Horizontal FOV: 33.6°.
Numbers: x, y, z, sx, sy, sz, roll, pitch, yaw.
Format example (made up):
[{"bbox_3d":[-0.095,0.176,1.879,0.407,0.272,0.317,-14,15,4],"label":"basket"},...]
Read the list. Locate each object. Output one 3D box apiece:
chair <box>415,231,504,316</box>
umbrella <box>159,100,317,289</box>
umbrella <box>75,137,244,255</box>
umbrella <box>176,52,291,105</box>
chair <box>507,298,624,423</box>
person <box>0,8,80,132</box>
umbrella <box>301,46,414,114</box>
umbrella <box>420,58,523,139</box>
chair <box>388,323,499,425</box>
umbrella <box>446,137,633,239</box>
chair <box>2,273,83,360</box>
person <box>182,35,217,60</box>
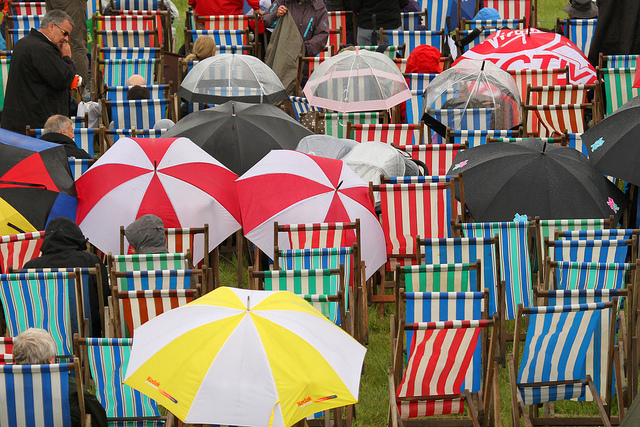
[{"bbox_3d":[1.494,0.441,11.512,0.836,1.166,0.780,-1,2,4],"label":"chair"},{"bbox_3d":[-1.015,-0.297,14.423,1.732,2.128,2.139,-1,25,-2],"label":"umbrella"},{"bbox_3d":[-1.976,-0.296,12.447,1.356,1.561,0.748,-24,-25,-20],"label":"umbrella"},{"bbox_3d":[-1.269,-1.994,15.592,1.428,0.740,1.562,-3,12,-22],"label":"umbrella"},{"bbox_3d":[2.399,1.641,10.630,0.794,1.090,1.404,1,-38,-1],"label":"chair"},{"bbox_3d":[-3.874,-1.977,14.646,0.934,1.715,0.519,-2,0,-21],"label":"person"},{"bbox_3d":[0.512,-1.870,14.956,0.939,0.512,1.025,23,41,27],"label":"umbrella"},{"bbox_3d":[2.053,-1.585,14.417,0.966,1.268,1.066,-4,-40,-6],"label":"umbrella"},{"bbox_3d":[1.200,1.530,10.337,0.647,1.023,1.223,1,-13,-1],"label":"chair"},{"bbox_3d":[2.457,-0.351,12.375,1.211,0.788,1.527,3,37,-7],"label":"umbrella"},{"bbox_3d":[-2.866,1.219,10.876,0.586,1.096,0.686,3,-24,-13],"label":"chair"},{"bbox_3d":[-1.847,-2.583,16.405,0.461,0.423,0.892,-1,8,-4],"label":"person"}]
